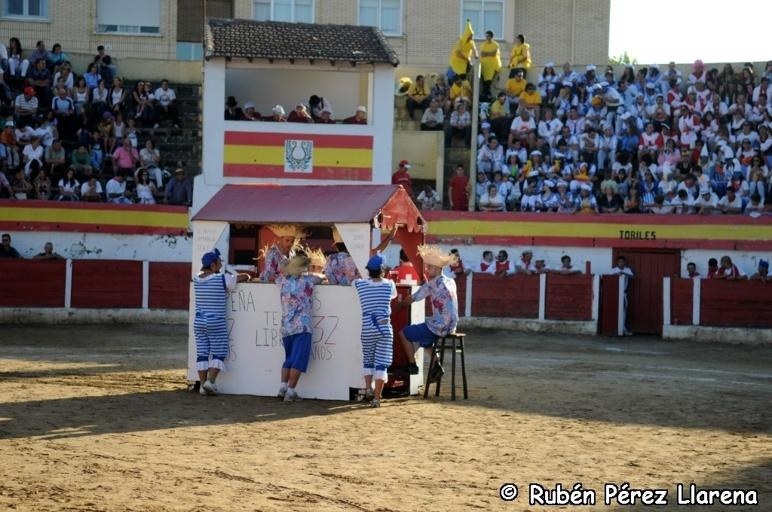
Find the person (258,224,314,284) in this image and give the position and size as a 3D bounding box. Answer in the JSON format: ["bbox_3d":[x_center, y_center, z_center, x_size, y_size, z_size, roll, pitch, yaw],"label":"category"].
[{"bbox_3d":[-2.146,-0.080,31.345,0.877,1.366,1.072,0,-2,2],"label":"person"}]

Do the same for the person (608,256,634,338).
[{"bbox_3d":[6.366,1.074,39.849,0.587,2.096,0.663,1,2,9],"label":"person"}]

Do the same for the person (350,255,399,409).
[{"bbox_3d":[-0.231,1.567,30.275,0.777,3.107,0.362,0,2,-1],"label":"person"}]

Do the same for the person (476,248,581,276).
[{"bbox_3d":[3.932,0.099,40.349,3.005,0.665,0.749,1,2,16],"label":"person"}]
